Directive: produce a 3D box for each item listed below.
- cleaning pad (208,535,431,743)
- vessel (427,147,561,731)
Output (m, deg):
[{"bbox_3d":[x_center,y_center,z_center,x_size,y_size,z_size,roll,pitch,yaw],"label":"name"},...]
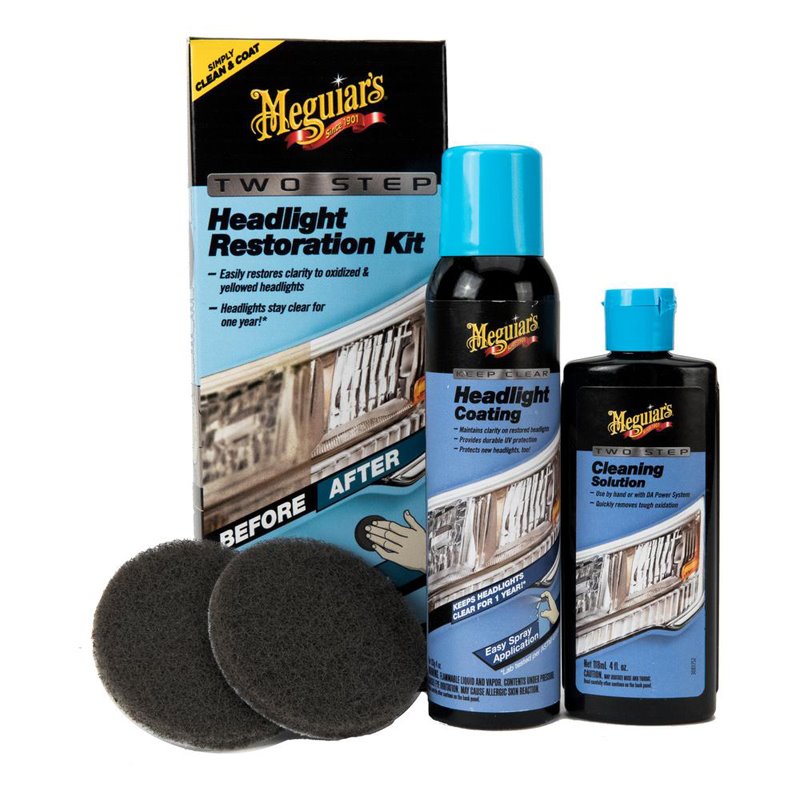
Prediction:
[{"bbox_3d":[-0.169,0.381,1.441,0.408,0.076,0.344,8,41,-36],"label":"cleaning pad"},{"bbox_3d":[0.136,0.061,1.354,0.198,0.861,0.217,-2,13,7],"label":"vessel"}]
